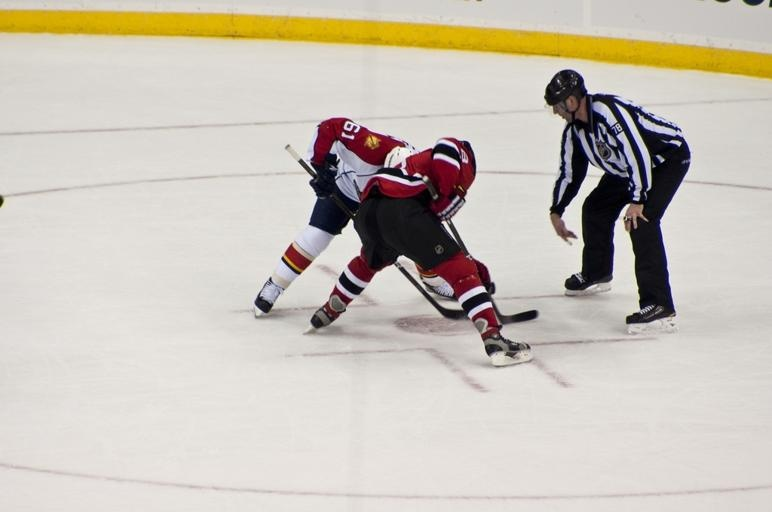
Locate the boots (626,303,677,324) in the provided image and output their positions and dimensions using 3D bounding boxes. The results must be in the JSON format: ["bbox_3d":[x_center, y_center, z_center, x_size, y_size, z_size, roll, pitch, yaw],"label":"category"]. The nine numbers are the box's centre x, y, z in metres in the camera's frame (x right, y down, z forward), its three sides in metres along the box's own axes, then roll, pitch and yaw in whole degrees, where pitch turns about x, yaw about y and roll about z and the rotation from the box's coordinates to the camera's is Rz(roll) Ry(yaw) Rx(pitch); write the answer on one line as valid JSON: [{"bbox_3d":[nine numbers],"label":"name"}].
[{"bbox_3d":[1.654,0.364,7.022,0.329,0.125,0.116,2,1,-7],"label":"boots"}]

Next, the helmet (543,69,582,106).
[{"bbox_3d":[1.098,-1.045,6.968,0.248,0.213,0.191,1,14,1],"label":"helmet"}]

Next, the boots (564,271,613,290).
[{"bbox_3d":[1.375,0.169,7.679,0.362,0.150,0.122,1,6,-12],"label":"boots"}]

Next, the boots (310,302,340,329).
[{"bbox_3d":[-0.386,0.381,7.011,0.209,0.086,0.117,-32,57,-2],"label":"boots"}]
